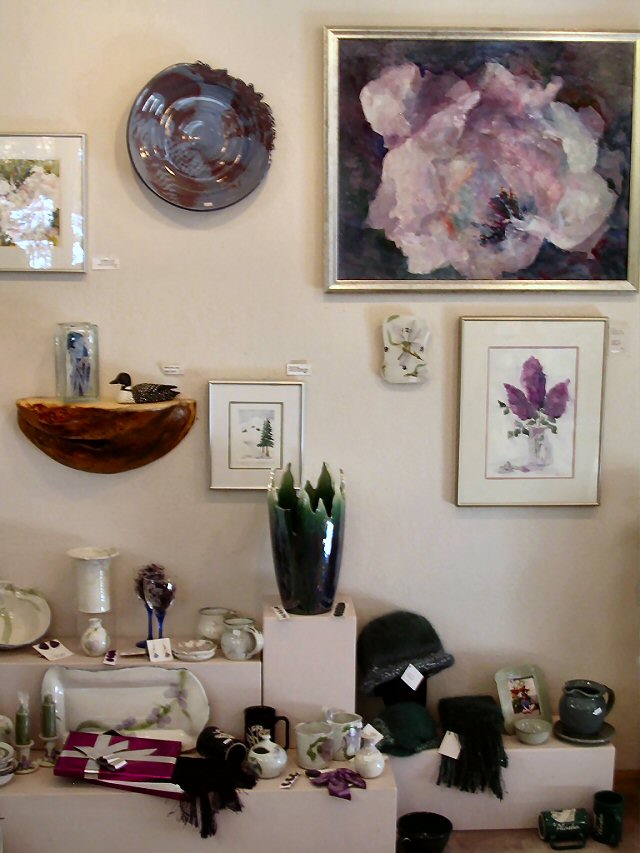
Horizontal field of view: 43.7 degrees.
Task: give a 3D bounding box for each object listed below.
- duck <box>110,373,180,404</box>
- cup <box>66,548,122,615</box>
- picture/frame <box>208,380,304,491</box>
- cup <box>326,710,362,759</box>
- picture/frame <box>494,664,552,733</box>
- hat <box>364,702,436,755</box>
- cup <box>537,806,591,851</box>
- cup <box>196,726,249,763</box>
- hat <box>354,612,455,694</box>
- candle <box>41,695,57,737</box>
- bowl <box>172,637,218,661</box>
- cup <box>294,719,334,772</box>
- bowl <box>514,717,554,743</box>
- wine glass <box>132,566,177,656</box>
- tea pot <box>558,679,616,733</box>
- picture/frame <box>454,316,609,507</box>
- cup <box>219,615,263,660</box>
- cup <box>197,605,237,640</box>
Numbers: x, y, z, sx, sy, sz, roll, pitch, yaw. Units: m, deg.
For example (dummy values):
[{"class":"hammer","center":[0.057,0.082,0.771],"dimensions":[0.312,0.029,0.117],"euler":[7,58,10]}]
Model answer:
[{"class":"duck","center":[-0.602,-0.130,2.650],"dimensions":[0.237,0.100,0.181],"euler":[-2,6,0]},{"class":"cup","center":[-0.744,0.500,2.646],"dimensions":[0.227,0.223,0.207],"euler":[0,-2,0]},{"class":"picture/frame","center":[-0.223,0.030,2.711],"dimensions":[0.360,0.363,0.014],"euler":[1,-1,-31]},{"class":"cup","center":[0.068,0.943,2.444],"dimensions":[0.143,0.113,0.106],"euler":[2,-3,-5]},{"class":"picture/frame","center":[0.687,0.927,2.735],"dimensions":[0.181,0.171,0.106],"euler":[-4,7,-16]},{"class":"hat","center":[0.281,0.978,2.608],"dimensions":[0.220,0.149,0.120],"euler":[-3,6,-2]},{"class":"cup","center":[0.765,1.239,2.479],"dimensions":[0.099,0.079,0.120],"euler":[0,4,1]},{"class":"cup","center":[-0.310,0.971,2.433],"dimensions":[0.178,0.087,0.091],"euler":[2,8,36]},{"class":"hat","center":[0.219,0.770,2.792],"dimensions":[0.436,0.196,0.326],"euler":[-7,-14,-23]},{"class":"candle","center":[-0.844,0.895,2.469],"dimensions":[0.046,0.131,0.055],"euler":[-5,7,-17]},{"class":"bowl","center":[-0.414,0.711,2.557],"dimensions":[0.082,0.029,0.079],"euler":[-2,-2,0]},{"class":"cup","center":[-0.021,0.958,2.399],"dimensions":[0.103,0.100,0.122],"euler":[2,6,0]},{"class":"bowl","center":[0.702,1.002,2.646],"dimensions":[0.119,0.052,0.151],"euler":[0,6,17]},{"class":"wine glass","center":[-0.554,0.594,2.657],"dimensions":[0.129,0.263,0.219],"euler":[-4,6,-11]},{"class":"tea pot","center":[0.883,0.923,2.641],"dimensions":[0.192,0.144,0.135],"euler":[2,1,-7]},{"class":"picture/frame","center":[0.703,-0.078,2.755],"dimensions":[0.750,0.854,0.038],"euler":[0,5,-3]},{"class":"cup","center":[-0.253,0.689,2.584],"dimensions":[0.154,0.101,0.093],"euler":[1,-1,17]},{"class":"cup","center":[-0.351,0.657,2.674],"dimensions":[0.123,0.073,0.075],"euler":[3,-6,-18]}]
